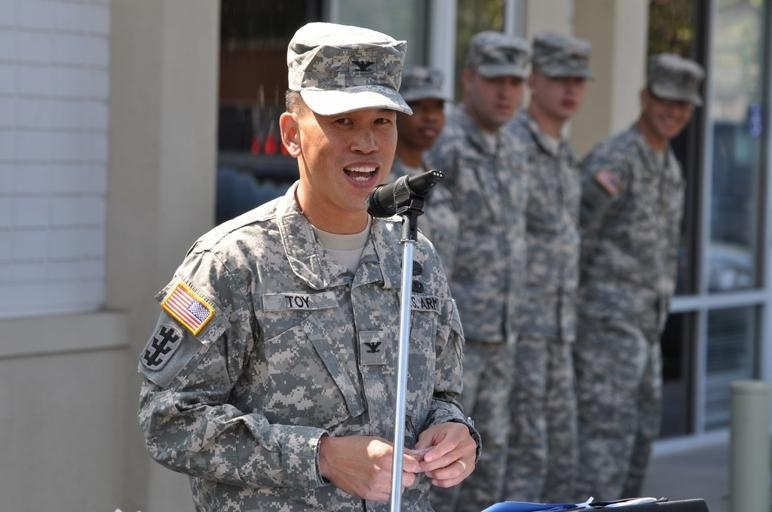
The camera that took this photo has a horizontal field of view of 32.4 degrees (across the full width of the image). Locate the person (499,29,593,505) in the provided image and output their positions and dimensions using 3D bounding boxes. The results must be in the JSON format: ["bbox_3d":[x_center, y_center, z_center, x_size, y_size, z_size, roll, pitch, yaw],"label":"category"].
[{"bbox_3d":[0.818,0.077,6.776,0.404,2.391,0.220,1,4,7],"label":"person"}]

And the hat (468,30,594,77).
[{"bbox_3d":[0.702,-1.000,6.624,0.344,0.128,0.302,3,23,-2],"label":"hat"}]

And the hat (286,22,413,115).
[{"bbox_3d":[-0.152,-0.764,5.410,0.327,0.275,0.433,2,5,-29],"label":"hat"}]

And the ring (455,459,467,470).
[{"bbox_3d":[0.302,0.850,5.387,0.030,0.019,0.038,12,38,-53],"label":"ring"}]

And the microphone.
[{"bbox_3d":[0.061,-0.219,5.196,0.133,0.162,0.388,-42,11,-36],"label":"microphone"}]
